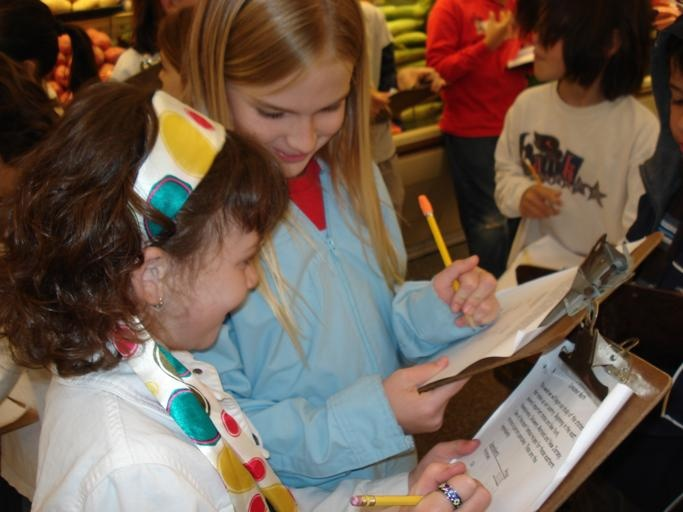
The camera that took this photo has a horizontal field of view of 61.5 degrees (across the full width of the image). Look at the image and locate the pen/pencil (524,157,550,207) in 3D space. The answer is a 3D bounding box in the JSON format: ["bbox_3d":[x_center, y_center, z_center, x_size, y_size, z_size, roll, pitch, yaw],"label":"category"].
[{"bbox_3d":[0.737,-0.290,2.152,0.028,0.160,0.024,-32,-11,21],"label":"pen/pencil"}]
